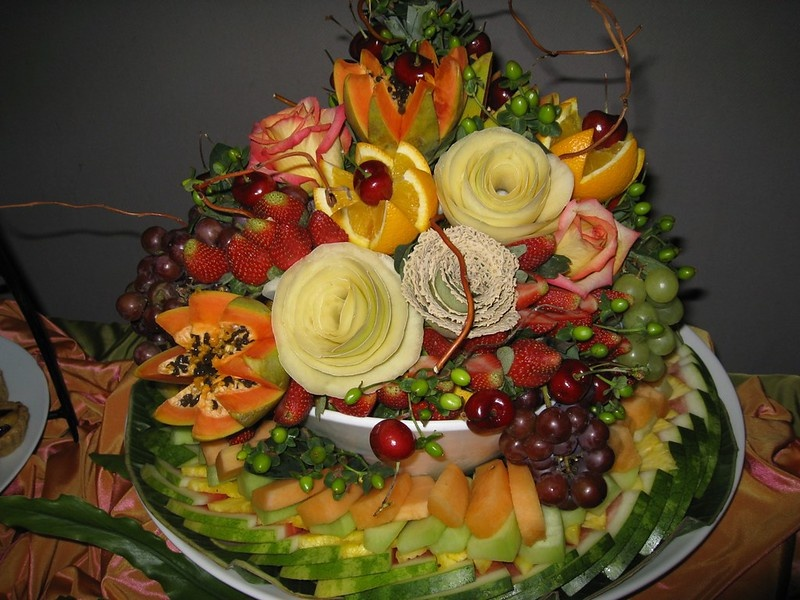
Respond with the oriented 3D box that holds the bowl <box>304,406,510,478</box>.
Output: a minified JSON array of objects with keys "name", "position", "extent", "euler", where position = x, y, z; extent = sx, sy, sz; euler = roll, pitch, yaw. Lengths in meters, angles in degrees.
[{"name":"bowl","position":[0.017,0.267,1.364],"extent":[0.203,0.072,0.198],"euler":[5,-4,0]}]

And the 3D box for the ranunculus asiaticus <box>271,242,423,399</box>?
[{"name":"ranunculus asiaticus","position":[-0.087,0.033,1.370],"extent":[0.244,0.267,0.166],"euler":[-36,-5,4]}]

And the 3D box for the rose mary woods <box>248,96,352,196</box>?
[{"name":"rose mary woods","position":[-0.181,-0.310,1.479],"extent":[0.184,0.185,0.113],"euler":[-16,-58,23]}]

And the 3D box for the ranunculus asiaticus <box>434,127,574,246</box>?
[{"name":"ranunculus asiaticus","position":[0.185,-0.195,1.366],"extent":[0.222,0.213,0.137],"euler":[-33,-13,-7]}]

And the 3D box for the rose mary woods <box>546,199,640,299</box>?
[{"name":"rose mary woods","position":[0.333,-0.097,1.335],"extent":[0.121,0.147,0.108],"euler":[2,-41,-9]}]
